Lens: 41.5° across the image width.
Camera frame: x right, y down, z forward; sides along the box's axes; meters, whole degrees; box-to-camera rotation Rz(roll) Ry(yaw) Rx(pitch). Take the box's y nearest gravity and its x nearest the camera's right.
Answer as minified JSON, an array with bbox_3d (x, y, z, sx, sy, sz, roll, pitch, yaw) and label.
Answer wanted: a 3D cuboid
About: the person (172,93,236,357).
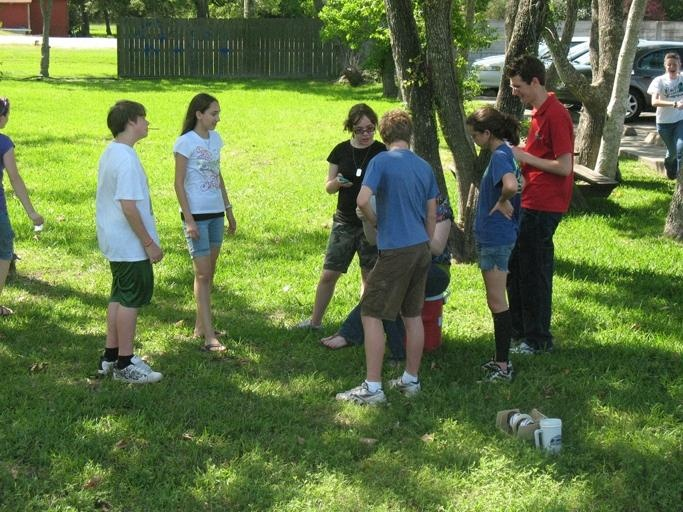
[{"bbox_3d":[-1.427,-0.371,9.328,0.550,2.584,0.708,-1,13,-8],"label":"person"}]

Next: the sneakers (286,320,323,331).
[{"bbox_3d":[-0.402,0.785,9.837,0.344,0.169,0.137,6,-6,5],"label":"sneakers"}]

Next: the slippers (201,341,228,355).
[{"bbox_3d":[-1.314,0.927,9.328,0.233,0.057,0.120,11,26,31],"label":"slippers"}]

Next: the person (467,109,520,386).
[{"bbox_3d":[1.498,-0.112,8.751,0.429,2.579,0.557,-3,13,-19],"label":"person"}]

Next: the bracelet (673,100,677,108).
[{"bbox_3d":[5.315,-2.422,14.370,0.060,0.074,0.152,-3,-12,9],"label":"bracelet"}]

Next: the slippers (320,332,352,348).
[{"bbox_3d":[-0.063,0.888,9.501,0.184,0.132,0.387,16,12,41],"label":"slippers"}]

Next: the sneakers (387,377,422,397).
[{"bbox_3d":[0.607,1.217,8.676,0.309,0.170,0.153,15,21,20],"label":"sneakers"}]

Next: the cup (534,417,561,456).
[{"bbox_3d":[1.821,1.577,7.932,0.276,0.320,0.199,-3,8,4],"label":"cup"}]

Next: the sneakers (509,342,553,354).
[{"bbox_3d":[1.956,0.968,9.330,0.401,0.199,0.161,3,-8,2],"label":"sneakers"}]

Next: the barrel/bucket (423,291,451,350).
[{"bbox_3d":[0.984,0.677,9.379,0.294,0.535,0.480,4,16,22],"label":"barrel/bucket"}]

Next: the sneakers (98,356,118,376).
[{"bbox_3d":[-2.265,1.063,8.803,0.215,0.154,0.098,-6,12,-37],"label":"sneakers"}]

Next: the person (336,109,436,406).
[{"bbox_3d":[0.489,0.192,8.420,0.806,2.336,0.422,0,13,-4],"label":"person"}]

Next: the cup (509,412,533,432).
[{"bbox_3d":[1.595,1.478,8.081,0.142,0.198,0.180,33,-21,-34],"label":"cup"}]

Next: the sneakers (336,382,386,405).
[{"bbox_3d":[0.207,1.282,8.606,0.484,0.259,0.199,4,-4,6],"label":"sneakers"}]

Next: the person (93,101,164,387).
[{"bbox_3d":[-2.023,0.063,8.580,0.648,2.239,0.483,0,13,-3],"label":"person"}]

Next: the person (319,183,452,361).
[{"bbox_3d":[0.449,-0.010,8.599,0.912,2.766,0.800,-3,7,-36],"label":"person"}]

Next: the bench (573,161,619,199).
[{"bbox_3d":[4.003,-1.136,14.312,0.627,0.409,1.010,4,15,11],"label":"bench"}]

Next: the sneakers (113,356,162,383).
[{"bbox_3d":[-1.959,1.084,8.720,0.445,0.250,0.211,0,5,-11],"label":"sneakers"}]

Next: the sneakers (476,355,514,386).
[{"bbox_3d":[1.450,1.141,8.854,0.446,0.237,0.161,-2,2,-7],"label":"sneakers"}]
